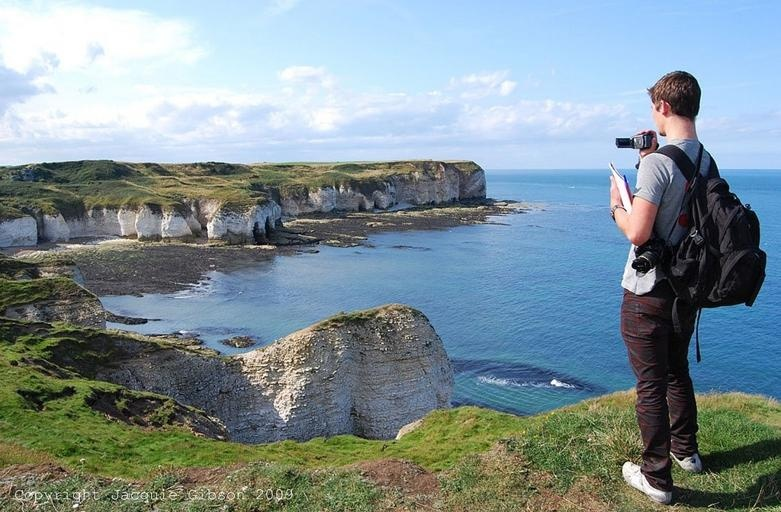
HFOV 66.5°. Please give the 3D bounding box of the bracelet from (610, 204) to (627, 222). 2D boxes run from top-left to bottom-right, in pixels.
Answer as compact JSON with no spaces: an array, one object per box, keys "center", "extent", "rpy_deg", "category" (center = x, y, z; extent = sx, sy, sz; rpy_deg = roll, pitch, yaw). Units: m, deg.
[{"center":[4.752,-0.911,12.532],"extent":[0.371,0.368,0.182],"rpy_deg":[0,6,0],"category":"bracelet"}]
